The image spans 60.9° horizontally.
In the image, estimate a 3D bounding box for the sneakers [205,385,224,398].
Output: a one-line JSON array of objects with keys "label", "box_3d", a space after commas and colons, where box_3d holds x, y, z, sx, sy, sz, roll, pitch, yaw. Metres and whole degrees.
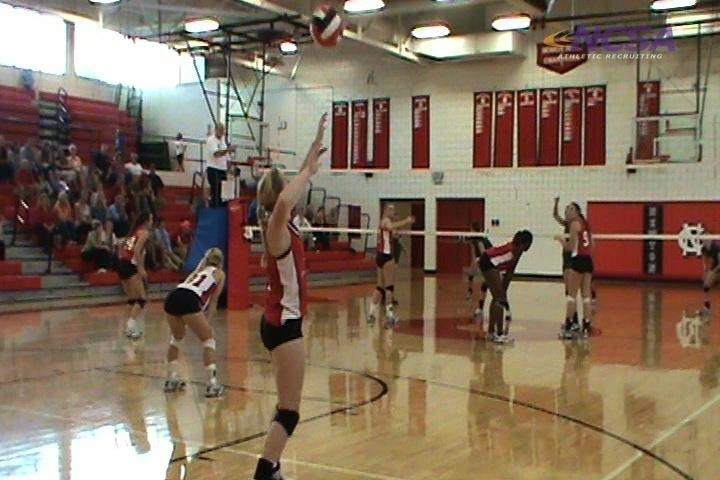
[{"label": "sneakers", "box_3d": [-1.989, 2.052, 8.312, 0.188, 0.119, 0.140, -2, -2, 23]}]

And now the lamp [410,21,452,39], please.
[{"label": "lamp", "box_3d": [2.155, -6.240, 18.288, 0.779, 0.193, 0.457, -1, 2, -16]}]

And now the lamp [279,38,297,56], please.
[{"label": "lamp", "box_3d": [-2.304, -6.265, 19.746, 0.519, 0.436, 0.905, 1, 5, -5]}]

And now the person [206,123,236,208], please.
[{"label": "person", "box_3d": [-3.358, -1.802, 14.674, 0.569, 1.984, 1.254, 1, 5, -11]}]

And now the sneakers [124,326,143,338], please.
[{"label": "sneakers", "box_3d": [-4.128, 1.684, 11.195, 0.293, 0.153, 0.328, 0, 6, -22]}]

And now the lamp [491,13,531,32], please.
[{"label": "lamp", "box_3d": [4.229, -6.130, 17.278, 0.673, 0.252, 0.511, -1, 2, 19]}]

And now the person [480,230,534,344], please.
[{"label": "person", "box_3d": [2.617, 0.855, 11.158, 1.011, 2.085, 0.601, 1, 1, 0]}]

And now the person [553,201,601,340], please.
[{"label": "person", "box_3d": [4.050, 0.567, 11.367, 0.544, 2.461, 0.894, 4, 6, 23]}]
